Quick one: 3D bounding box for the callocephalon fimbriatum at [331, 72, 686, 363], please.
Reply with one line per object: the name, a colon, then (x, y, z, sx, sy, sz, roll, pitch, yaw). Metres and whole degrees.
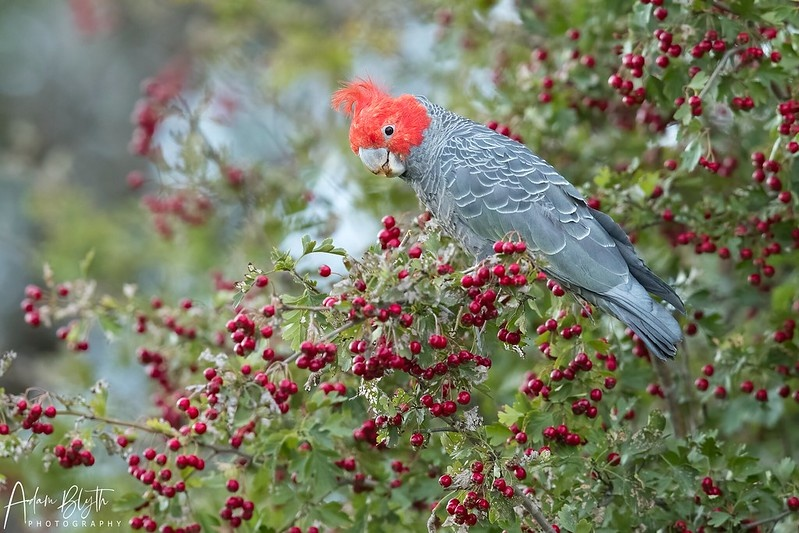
callocephalon fimbriatum: (0.646, -0.324, 6.679, 2.594, 1.307, 0.867, 15, 5, 16)
